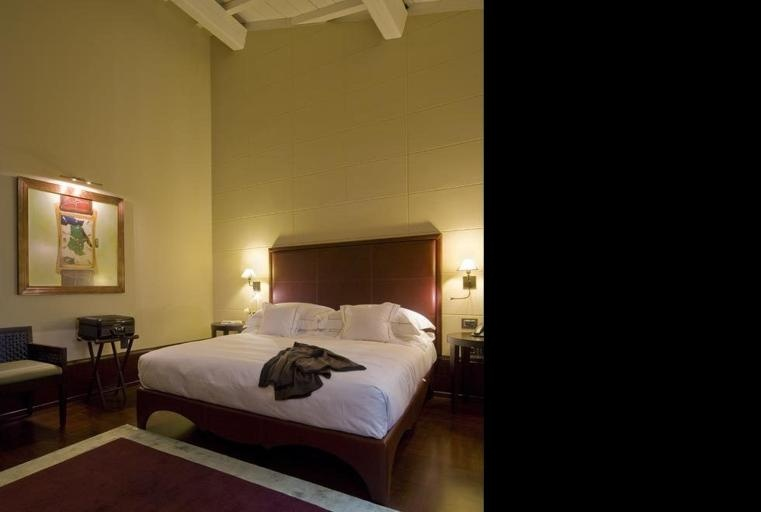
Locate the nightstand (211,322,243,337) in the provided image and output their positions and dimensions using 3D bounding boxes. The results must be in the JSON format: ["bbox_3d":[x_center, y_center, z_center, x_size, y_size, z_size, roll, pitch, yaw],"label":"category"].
[{"bbox_3d":[-2.040,0.945,7.209,0.315,0.250,0.323,-2,-2,27],"label":"nightstand"}]

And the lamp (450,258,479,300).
[{"bbox_3d":[1.015,0.273,6.224,0.349,0.460,0.395,-2,-5,37],"label":"lamp"}]

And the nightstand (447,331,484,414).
[{"bbox_3d":[0.926,1.237,5.884,0.362,0.809,0.641,-1,-3,8],"label":"nightstand"}]

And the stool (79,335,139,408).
[{"bbox_3d":[-3.192,1.327,6.337,0.718,0.991,0.582,-8,-10,27],"label":"stool"}]

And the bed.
[{"bbox_3d":[-0.594,0.883,5.848,2.715,2.258,2.519,-1,-6,23],"label":"bed"}]
